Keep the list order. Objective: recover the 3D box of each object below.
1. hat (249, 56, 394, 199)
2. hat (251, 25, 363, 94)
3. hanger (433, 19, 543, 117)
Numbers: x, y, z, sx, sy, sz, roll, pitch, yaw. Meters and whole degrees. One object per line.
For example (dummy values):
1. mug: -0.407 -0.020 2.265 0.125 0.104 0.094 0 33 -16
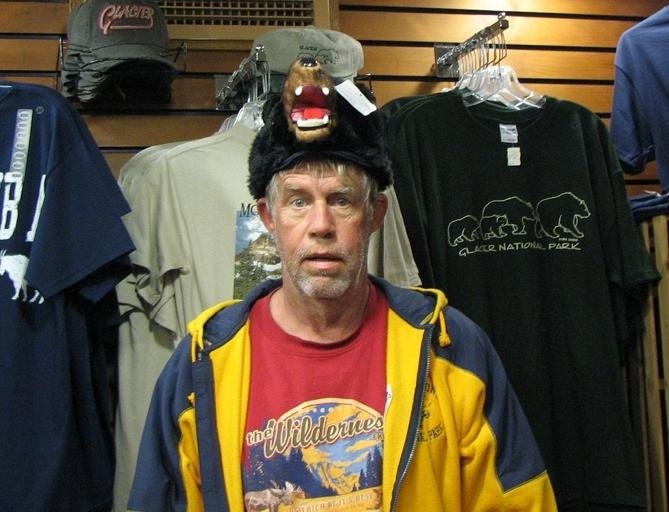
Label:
1. hat: -0.064 -0.424 2.849 0.341 0.242 0.516 3 -27 -3
2. hat: -0.100 -0.862 3.563 0.285 0.190 0.396 -1 2 35
3. hanger: 0.645 -0.827 3.778 0.214 0.342 0.772 -2 8 -9
